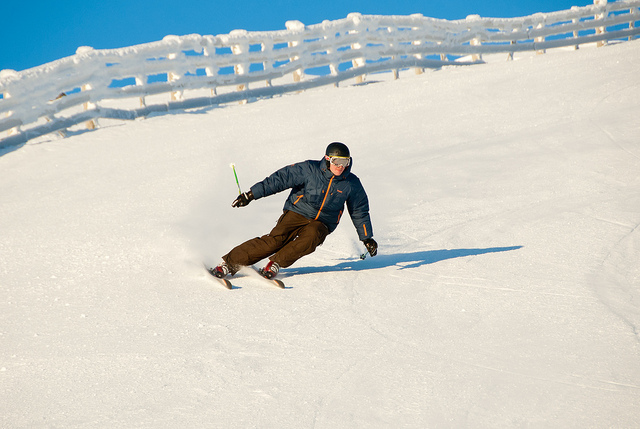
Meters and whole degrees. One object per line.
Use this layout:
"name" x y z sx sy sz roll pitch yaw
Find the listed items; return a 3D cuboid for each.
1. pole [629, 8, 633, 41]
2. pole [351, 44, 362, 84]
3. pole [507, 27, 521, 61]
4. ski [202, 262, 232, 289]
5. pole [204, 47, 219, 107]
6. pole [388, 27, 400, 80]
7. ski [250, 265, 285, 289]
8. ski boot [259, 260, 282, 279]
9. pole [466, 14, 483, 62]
"pole" 9.381 -5.772 26.560 0.054 0.859 0.487 2 28 31
"pole" 0.857 -3.677 21.373 0.163 0.964 0.305 -11 24 6
"pole" 5.366 -4.743 24.376 0.348 0.710 1.213 -4 24 19
"ski" -1.444 0.891 12.508 0.090 0.055 0.548 -6 27 -41
"pole" -2.390 -2.993 19.019 0.207 1.339 0.205 10 13 40
"pole" 1.851 -4.020 21.767 0.297 1.290 0.329 -10 24 7
"ski" -0.785 0.875 12.914 0.164 0.120 1.054 25 2 -24
"ski boot" -0.728 0.805 12.833 0.273 0.185 0.287 -51 1 5
"pole" 4.179 -4.752 23.650 0.346 1.364 0.714 -8 24 11
